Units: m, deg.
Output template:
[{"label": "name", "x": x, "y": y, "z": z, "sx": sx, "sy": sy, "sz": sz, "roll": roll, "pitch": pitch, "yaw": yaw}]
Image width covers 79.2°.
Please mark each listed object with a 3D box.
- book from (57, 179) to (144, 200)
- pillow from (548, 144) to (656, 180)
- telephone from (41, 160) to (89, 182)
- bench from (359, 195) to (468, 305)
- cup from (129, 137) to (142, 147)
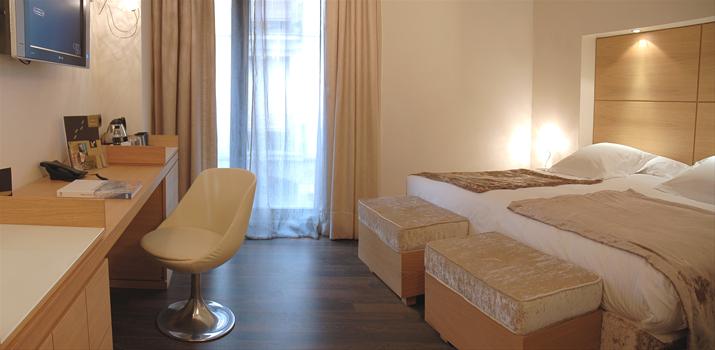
[{"label": "book", "x": -2.262, "y": 0.130, "z": 3.800, "sx": 0.637, "sy": 0.129, "sz": 0.450, "roll": -2, "pitch": 9, "yaw": -9}, {"label": "pillow", "x": 3.040, "y": -0.163, "z": 5.301, "sx": 0.658, "sy": 0.164, "sz": 0.707, "roll": -17, "pitch": 10, "yaw": -38}, {"label": "telephone", "x": -2.793, "y": -0.043, "z": 4.108, "sx": 0.343, "sy": 0.096, "sz": 0.234, "roll": 1, "pitch": 5, "yaw": -3}, {"label": "bench", "x": 0.422, "y": 0.705, "z": 4.951, "sx": 1.172, "sy": 0.867, "sz": 1.603, "roll": -4, "pitch": 11, "yaw": -22}, {"label": "cup", "x": -2.440, "y": -0.378, "z": 4.731, "sx": 0.144, "sy": 0.107, "sz": 0.076, "roll": 0, "pitch": 5, "yaw": -16}]
